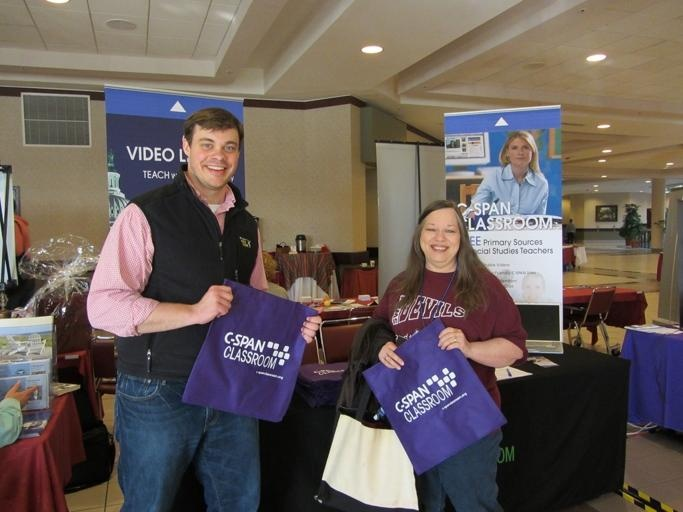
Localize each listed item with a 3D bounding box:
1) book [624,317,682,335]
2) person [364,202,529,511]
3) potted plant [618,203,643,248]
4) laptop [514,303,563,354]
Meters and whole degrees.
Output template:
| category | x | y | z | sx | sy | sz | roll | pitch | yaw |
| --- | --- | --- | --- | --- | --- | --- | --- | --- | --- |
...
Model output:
| category | x | y | z | sx | sy | sz | roll | pitch | yaw |
| --- | --- | --- | --- | --- | --- | --- | --- | --- | --- |
| book | 3.089 | 0.703 | 5.250 | 0.366 | 0.088 | 0.379 | 3 | 11 | 30 |
| person | 0.597 | 0.568 | 2.860 | 0.776 | 1.720 | 0.422 | 0 | 5 | 7 |
| potted plant | 14.676 | -1.534 | 26.740 | 0.988 | 2.104 | 2.205 | 2 | 6 | 30 |
| laptop | 1.489 | 0.512 | 4.173 | 0.454 | 0.495 | 0.385 | -2 | -3 | 10 |
